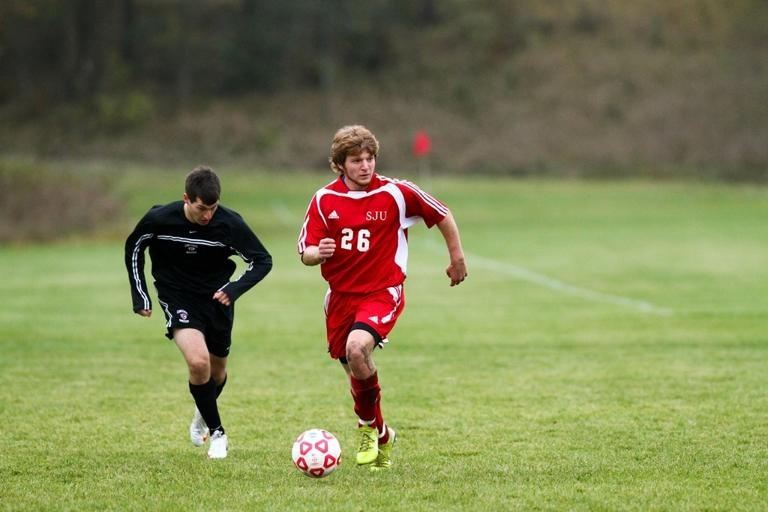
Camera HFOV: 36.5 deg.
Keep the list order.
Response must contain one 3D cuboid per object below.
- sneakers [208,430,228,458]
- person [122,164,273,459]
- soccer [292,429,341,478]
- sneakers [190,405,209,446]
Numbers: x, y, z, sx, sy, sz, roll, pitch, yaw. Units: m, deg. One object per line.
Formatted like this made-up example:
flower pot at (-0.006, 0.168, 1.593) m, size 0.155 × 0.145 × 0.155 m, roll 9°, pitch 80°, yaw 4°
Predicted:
sneakers at (-1.591, 1.809, 11.146) m, size 0.129 × 0.135 × 0.328 m, roll -2°, pitch 14°, yaw -7°
person at (-1.792, 0.520, 11.190) m, size 1.354 × 2.743 × 0.747 m, roll 0°, pitch 9°, yaw -9°
soccer at (-0.637, 1.876, 11.016) m, size 0.518 × 0.441 × 0.442 m, roll -2°, pitch 21°, yaw 7°
sneakers at (-1.777, 1.644, 11.307) m, size 0.153 × 0.399 × 0.188 m, roll -2°, pitch 12°, yaw -6°
